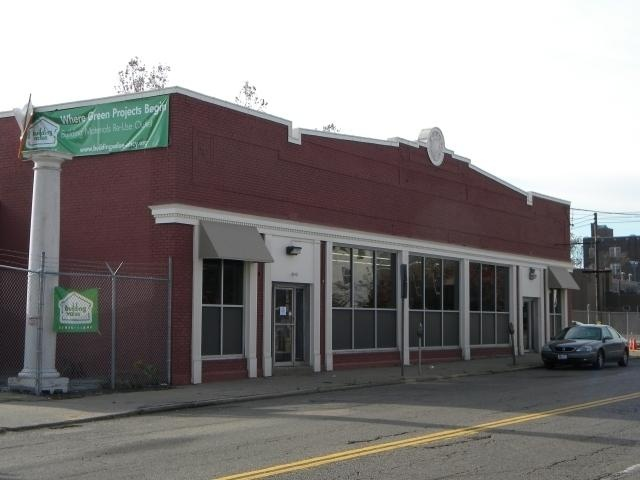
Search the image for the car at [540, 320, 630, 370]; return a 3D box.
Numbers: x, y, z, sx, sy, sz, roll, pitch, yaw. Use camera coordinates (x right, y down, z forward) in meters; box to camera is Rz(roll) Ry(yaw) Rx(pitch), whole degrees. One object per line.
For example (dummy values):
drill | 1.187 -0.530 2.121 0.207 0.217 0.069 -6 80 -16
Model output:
car | 10.274 4.139 29.406 3.729 1.773 1.702 7 -15 -41
